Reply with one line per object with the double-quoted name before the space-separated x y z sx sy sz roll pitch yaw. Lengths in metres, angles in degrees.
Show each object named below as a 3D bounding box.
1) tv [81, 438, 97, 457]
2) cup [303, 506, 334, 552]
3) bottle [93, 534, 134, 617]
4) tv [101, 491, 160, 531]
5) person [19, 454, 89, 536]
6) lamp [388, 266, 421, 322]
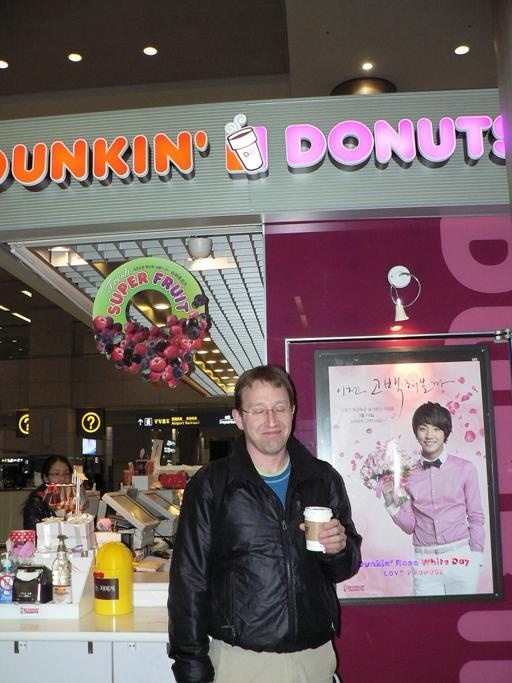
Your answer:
"tv" -4.762 2.995 16.263 0.624 0.522 0.063 -1 -11 -23
"cup" 0.172 0.525 1.610 0.098 0.103 0.095 3 -17 1
"bottle" -0.618 1.024 2.486 0.173 0.297 0.188 -2 -12 0
"tv" -0.832 1.114 3.785 0.370 0.096 0.329 38 -16 -36
"person" -1.352 0.961 3.730 0.274 0.439 1.127 2 -12 -18
"lamp" 0.783 -0.253 2.976 0.174 0.306 0.078 -5 -13 12
